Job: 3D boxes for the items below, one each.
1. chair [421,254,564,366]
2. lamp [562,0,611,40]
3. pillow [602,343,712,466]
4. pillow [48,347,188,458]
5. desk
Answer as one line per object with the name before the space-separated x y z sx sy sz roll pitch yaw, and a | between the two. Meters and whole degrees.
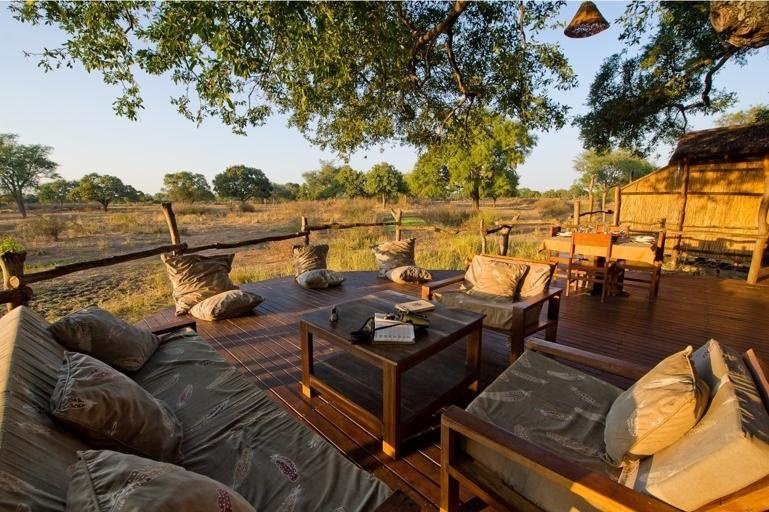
chair | 1.553 0.669 6.011 1.646 1.150 1.222 11 18 42
lamp | 2.775 -3.296 5.683 0.543 0.358 0.589 0 9 13
pillow | 2.351 1.356 3.592 0.791 0.884 0.355 -2 11 2
pillow | -2.326 1.164 3.718 0.288 0.963 0.926 -43 35 -12
desk | 0.048 1.328 4.718 1.714 1.074 1.748 9 14 42
